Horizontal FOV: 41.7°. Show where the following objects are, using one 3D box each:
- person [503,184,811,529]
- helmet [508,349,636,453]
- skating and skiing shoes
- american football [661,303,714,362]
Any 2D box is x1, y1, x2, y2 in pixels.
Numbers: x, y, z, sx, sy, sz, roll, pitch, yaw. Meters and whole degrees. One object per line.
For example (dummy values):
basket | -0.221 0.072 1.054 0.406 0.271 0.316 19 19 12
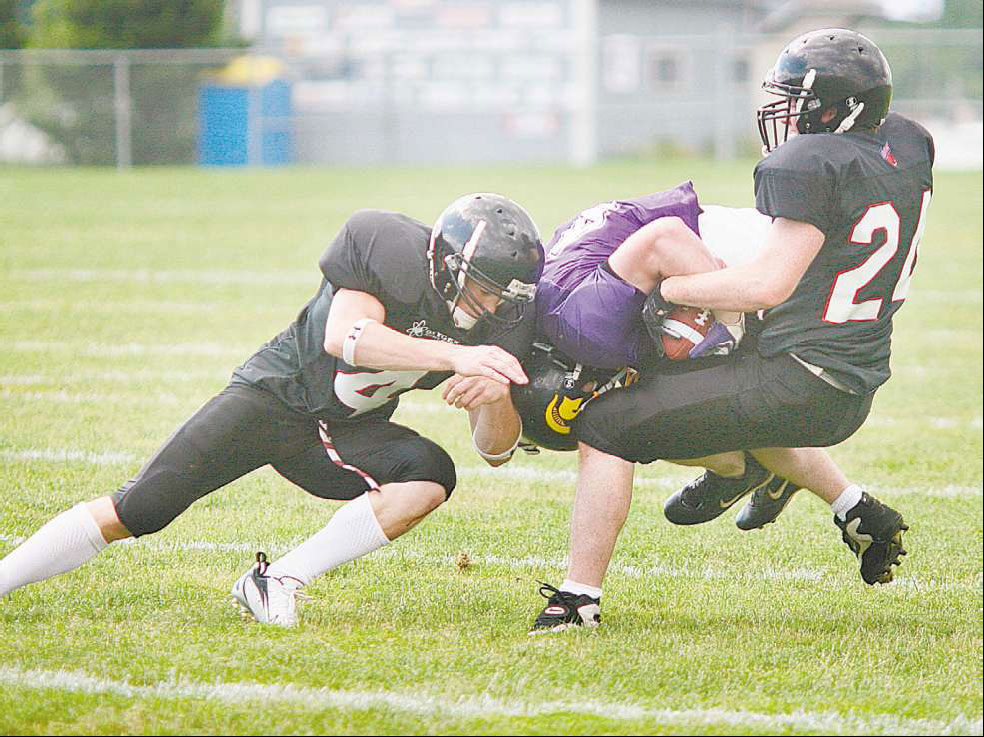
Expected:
person | 0.505 -0.040 4.377 0.923 1.219 0.623 -1 4 -19
helmet | 0.175 0.092 4.479 0.424 0.299 0.311 24 3 38
skating and skiing shoes | 0.910 0.473 4.825 0.645 0.189 0.282 -25 -9 32
american football | 0.618 -0.114 4.177 0.139 0.180 0.060 35 7 -19
